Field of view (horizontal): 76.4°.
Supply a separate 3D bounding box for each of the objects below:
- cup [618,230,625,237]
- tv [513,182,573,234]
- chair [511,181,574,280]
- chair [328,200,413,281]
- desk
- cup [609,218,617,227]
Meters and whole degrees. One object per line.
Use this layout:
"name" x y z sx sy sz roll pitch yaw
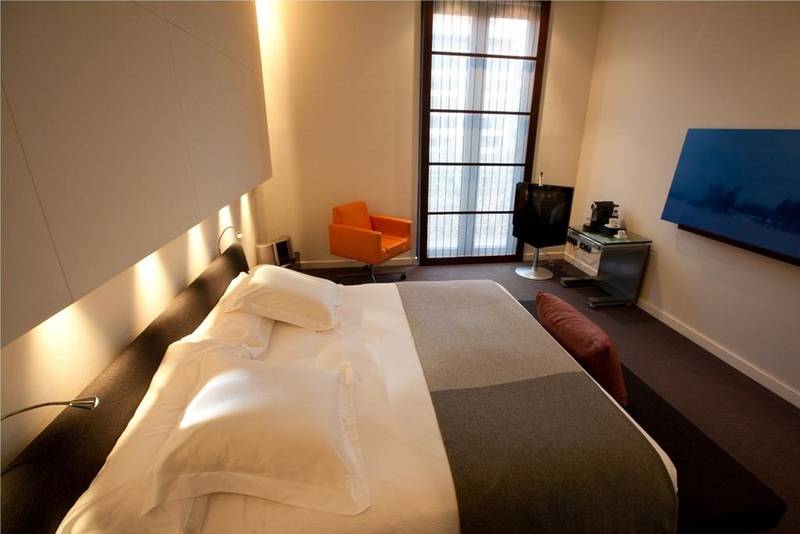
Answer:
"cup" 2.264 -0.337 5.182 0.070 0.078 0.073 -2 19 1
"tv" 1.598 -0.583 5.801 0.714 0.688 0.071 12 4 36
"chair" 1.657 -0.447 5.952 0.483 1.096 0.762 -12 26 -30
"chair" -0.331 -0.280 5.797 0.797 0.794 0.805 7 20 20
"desk" 2.147 -0.019 5.474 0.535 0.671 0.929 -1 14 -9
"cup" 2.256 -0.464 5.354 0.102 0.075 0.065 -5 14 -19
